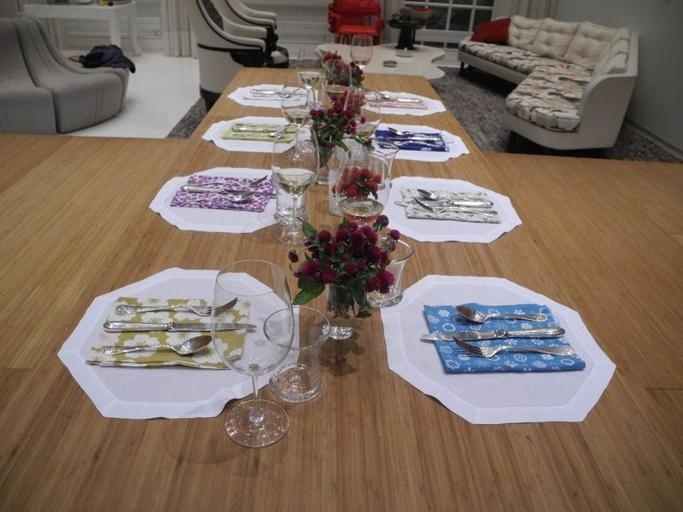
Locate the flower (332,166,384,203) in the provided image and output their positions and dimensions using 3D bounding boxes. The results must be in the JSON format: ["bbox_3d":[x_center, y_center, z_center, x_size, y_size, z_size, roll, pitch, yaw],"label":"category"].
[{"bbox_3d":[0.039,-0.174,1.093,0.094,0.045,0.067,-11,46,-30],"label":"flower"}]

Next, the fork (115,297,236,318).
[{"bbox_3d":[-0.332,0.102,0.893,0.280,0.039,0.035,2,31,-2],"label":"fork"}]

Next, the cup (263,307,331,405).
[{"bbox_3d":[-0.067,0.209,0.918,0.154,0.149,0.142,2,40,-2],"label":"cup"}]

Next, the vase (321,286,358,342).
[{"bbox_3d":[-0.001,0.126,0.974,0.067,0.064,0.165,-5,58,7],"label":"vase"}]

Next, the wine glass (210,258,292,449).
[{"bbox_3d":[-0.140,0.157,0.729,0.123,0.272,0.172,-1,37,-7],"label":"wine glass"}]

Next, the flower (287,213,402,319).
[{"bbox_3d":[0.012,0.028,0.909,0.225,0.230,0.225,1,36,-5],"label":"flower"}]
